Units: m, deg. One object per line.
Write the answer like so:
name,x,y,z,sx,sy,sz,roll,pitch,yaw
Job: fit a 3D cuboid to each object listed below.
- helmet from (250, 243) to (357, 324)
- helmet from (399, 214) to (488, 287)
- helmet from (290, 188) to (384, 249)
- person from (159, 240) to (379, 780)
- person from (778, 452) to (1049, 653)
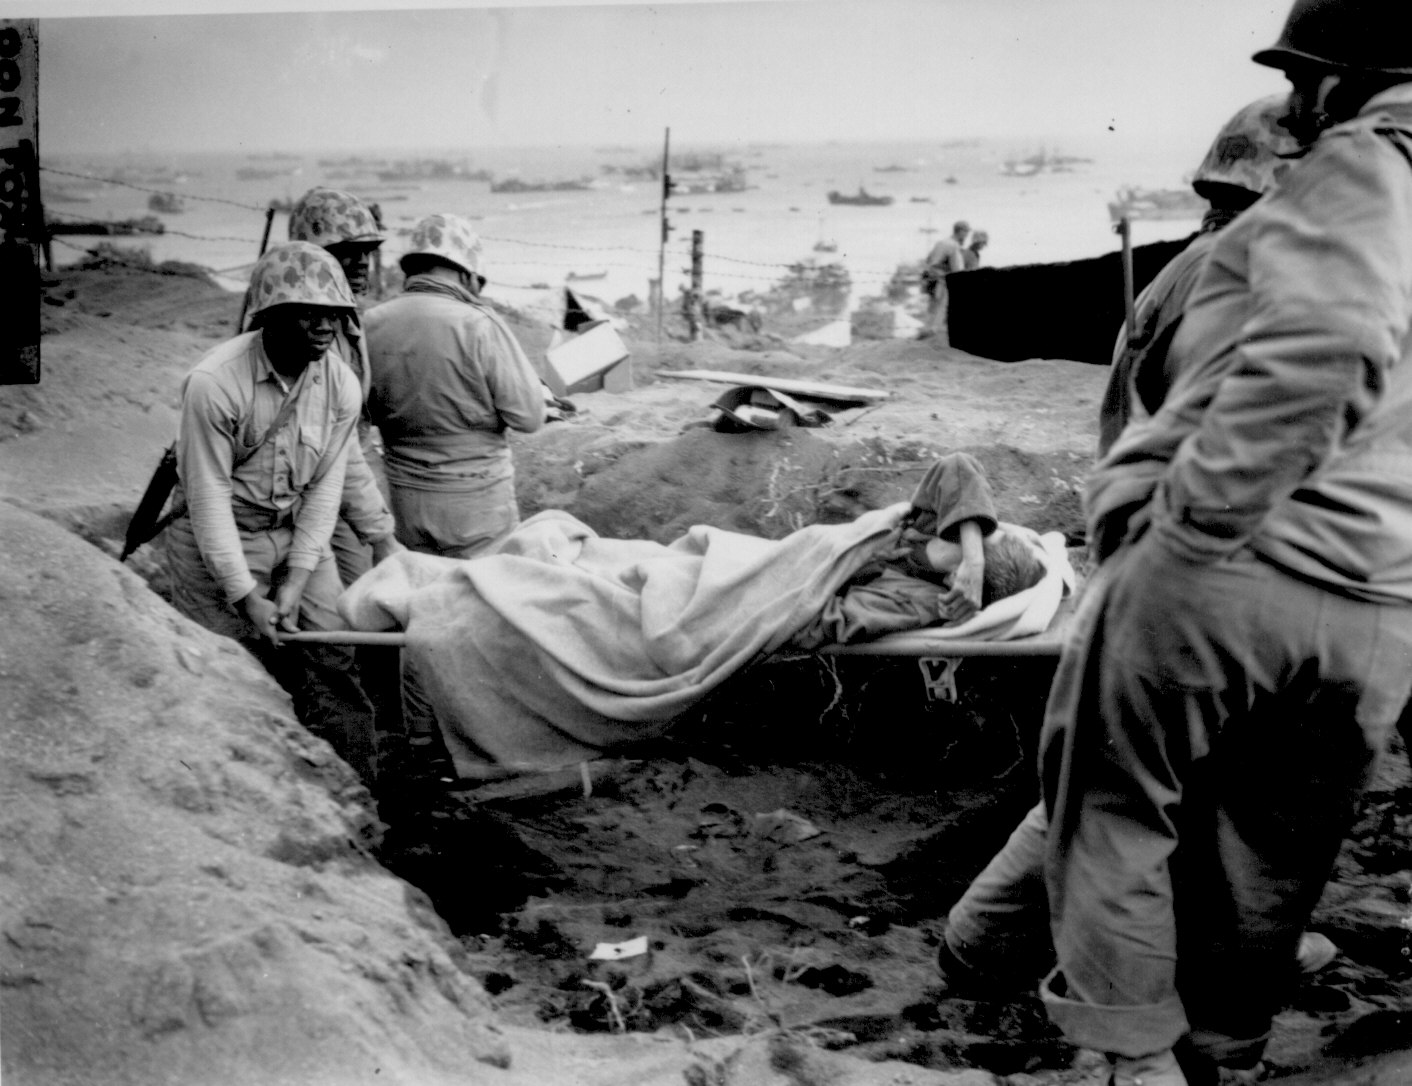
helmet,-1.477,-0.958,5.061,0.431,0.257,0.437,-5,-1,-39
helmet,-1.169,-1.333,6.185,0.312,0.274,0.453,0,-7,21
helmet,-1.573,-1.374,5.853,0.364,0.195,0.284,24,27,32
person,-1.618,-0.167,5.078,0.723,1.833,0.724,-3,15,-16
person,0.682,0.160,4.708,0.848,0.299,0.615,-22,13,15
